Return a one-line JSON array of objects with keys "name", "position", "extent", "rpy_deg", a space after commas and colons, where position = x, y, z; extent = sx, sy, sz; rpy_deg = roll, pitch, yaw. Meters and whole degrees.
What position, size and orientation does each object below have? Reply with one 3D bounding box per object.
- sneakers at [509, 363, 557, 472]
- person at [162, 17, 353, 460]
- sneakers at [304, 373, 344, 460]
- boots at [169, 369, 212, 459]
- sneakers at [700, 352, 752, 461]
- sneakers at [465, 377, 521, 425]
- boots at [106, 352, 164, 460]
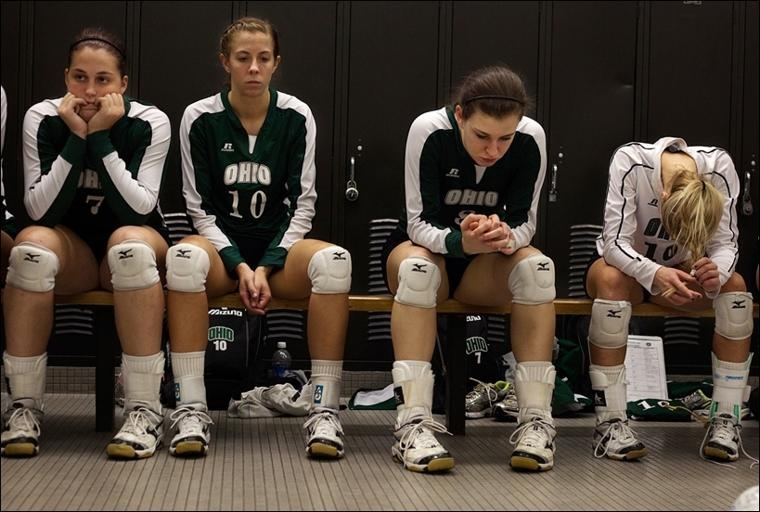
[{"name": "sneakers", "position": [0.557, 0.584, 2.069], "extent": [0.149, 0.380, 0.134], "rpy_deg": [1, -1, 13]}, {"name": "person", "position": [-0.484, -0.124, 2.312], "extent": [0.714, 1.783, 0.623], "rpy_deg": [2, -1, -13]}, {"name": "sneakers", "position": [-0.207, 0.608, 2.133], "extent": [0.147, 0.289, 0.171], "rpy_deg": [1, -1, 1]}, {"name": "boots", "position": [-0.700, 0.586, 2.111], "extent": [0.139, 0.286, 0.203], "rpy_deg": [2, -1, -18]}, {"name": "sneakers", "position": [1.387, 0.593, 2.267], "extent": [0.297, 0.402, 0.143], "rpy_deg": [3, -2, -40]}, {"name": "sneakers", "position": [0.566, 0.753, 2.939], "extent": [0.318, 0.159, 0.131], "rpy_deg": [0, -4, -3]}, {"name": "boots", "position": [-0.891, 0.539, 2.087], "extent": [0.187, 0.374, 0.177], "rpy_deg": [2, -2, -27]}]
